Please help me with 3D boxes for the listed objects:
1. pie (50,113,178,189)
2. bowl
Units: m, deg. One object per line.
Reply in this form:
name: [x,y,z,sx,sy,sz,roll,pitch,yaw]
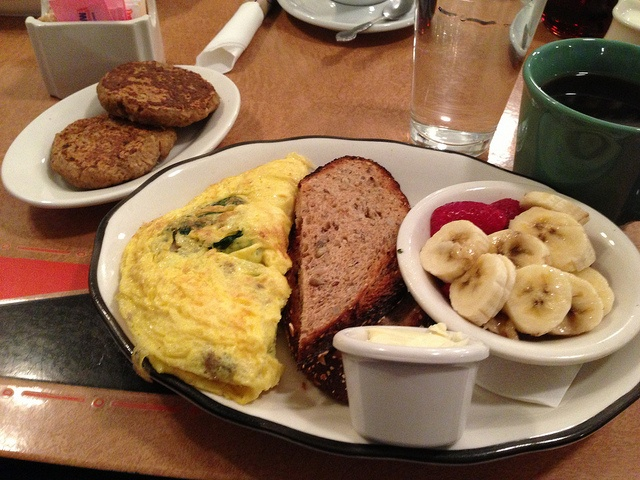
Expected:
pie: [-0.541,-0.220,1.359,0.228,0.057,0.217,-12,45,-19]
bowl: [0.149,0.249,0.932,0.224,0.134,0.215,3,18,-1]
